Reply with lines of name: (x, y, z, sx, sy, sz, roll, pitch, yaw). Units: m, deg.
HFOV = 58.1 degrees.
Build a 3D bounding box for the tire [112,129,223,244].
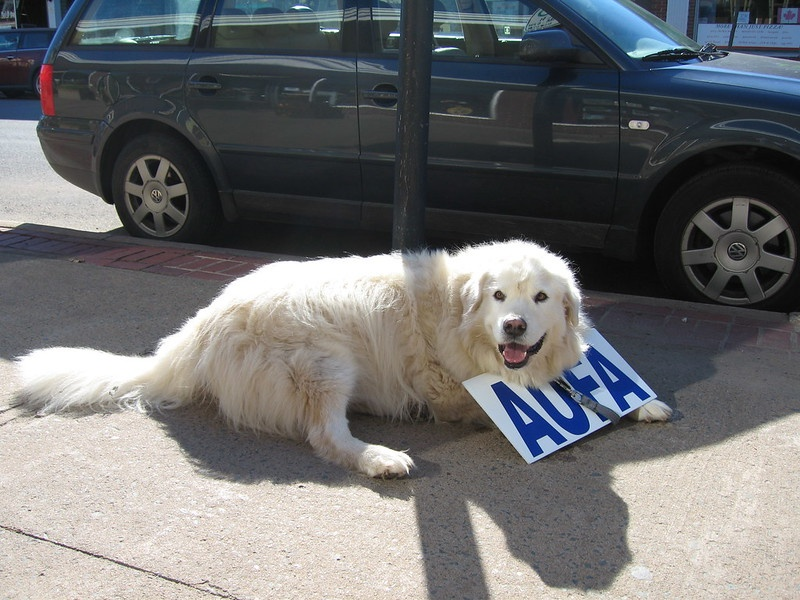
tire: (-2.043, -1.042, 6.402, 1.171, 0.945, 0.343, 2, 13, 15)
